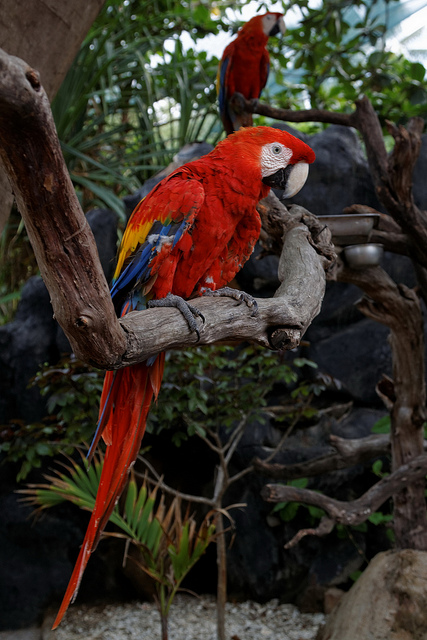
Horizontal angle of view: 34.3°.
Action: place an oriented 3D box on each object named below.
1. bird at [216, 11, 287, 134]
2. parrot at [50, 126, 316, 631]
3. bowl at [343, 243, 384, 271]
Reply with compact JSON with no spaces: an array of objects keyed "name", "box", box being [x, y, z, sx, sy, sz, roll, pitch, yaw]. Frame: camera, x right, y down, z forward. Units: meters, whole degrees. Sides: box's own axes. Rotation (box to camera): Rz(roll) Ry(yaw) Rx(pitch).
[{"name":"bird","box":[0.218,-1.459,4.157,0.382,0.689,0.390,2,3,-9]},{"name":"parrot","box":[-0.105,0.166,2.233,0.609,1.632,0.730,4,4,22]},{"name":"bowl","box":[0.646,-0.269,3.001,0.168,0.113,0.129,2,3,4]}]
